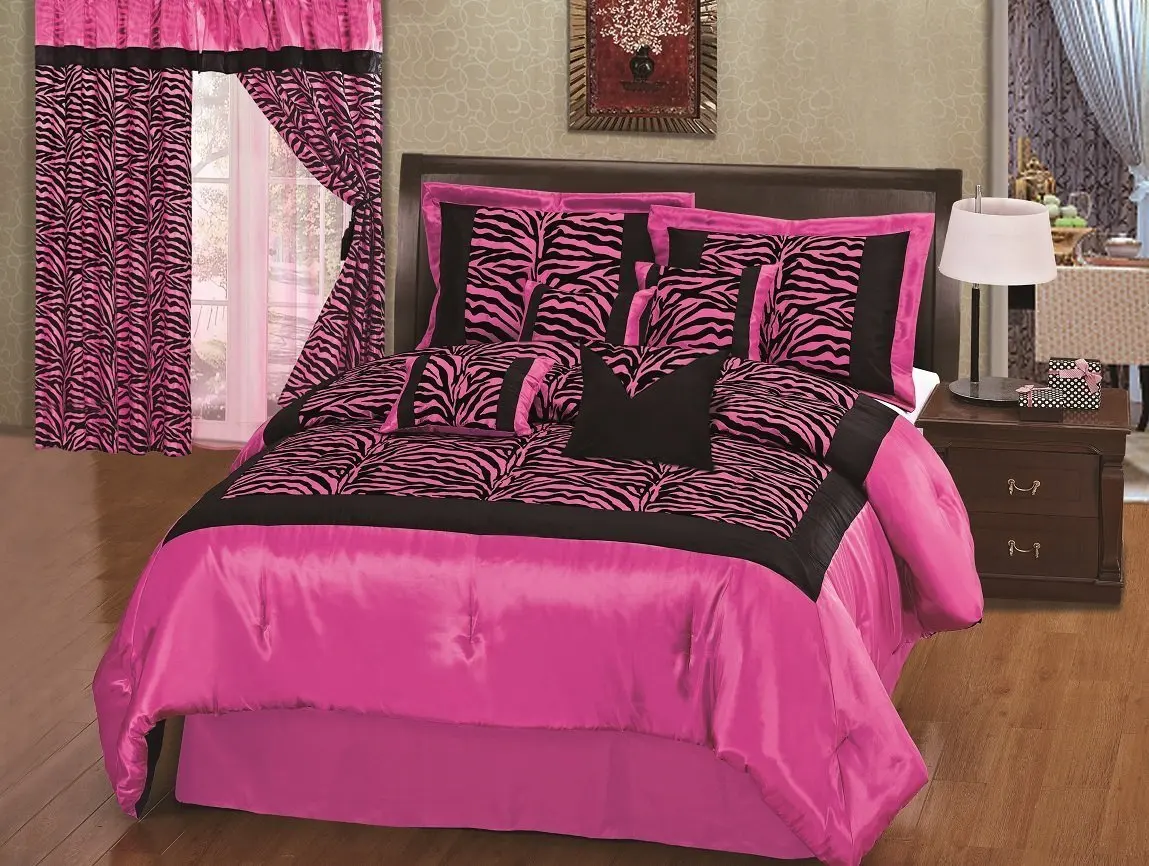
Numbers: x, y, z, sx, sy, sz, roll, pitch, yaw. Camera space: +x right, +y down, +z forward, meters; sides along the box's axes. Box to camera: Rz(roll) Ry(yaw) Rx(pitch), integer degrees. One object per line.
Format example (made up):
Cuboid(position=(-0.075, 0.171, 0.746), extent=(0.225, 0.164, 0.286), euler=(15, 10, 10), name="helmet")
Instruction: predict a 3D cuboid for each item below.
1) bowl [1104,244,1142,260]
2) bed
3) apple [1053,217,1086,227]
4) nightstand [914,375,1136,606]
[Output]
Cuboid(position=(2.874, -0.943, 5.067), extent=(0.102, 0.056, 0.101), euler=(-1, 3, 0), name="bowl")
Cuboid(position=(0.051, 0.057, 2.498), extent=(1.328, 0.783, 1.491), euler=(4, 16, 18), name="bed")
Cuboid(position=(2.419, -1.038, 4.753), extent=(0.089, 0.031, 0.089), euler=(-2, 11, -7), name="apple")
Cuboid(position=(1.582, 0.164, 3.635), extent=(0.772, 0.740, 0.655), euler=(1, 10, 13), name="nightstand")
